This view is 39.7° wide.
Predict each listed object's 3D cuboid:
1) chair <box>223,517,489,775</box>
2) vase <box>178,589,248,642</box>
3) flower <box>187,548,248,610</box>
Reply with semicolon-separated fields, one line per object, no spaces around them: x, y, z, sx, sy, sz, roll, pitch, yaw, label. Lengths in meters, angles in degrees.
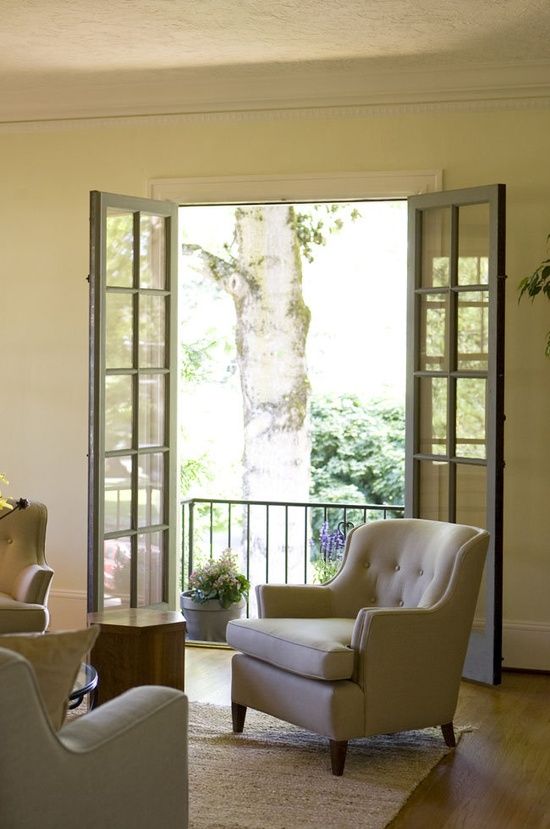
0.323;0.819;2.958;0.985;0.734;0.916;0;-7;-5;chair
-0.385;1.230;4.827;0.533;0.364;0.513;1;-10;-3;vase
-0.337;1.040;4.791;0.342;0.378;0.309;1;-1;0;flower
